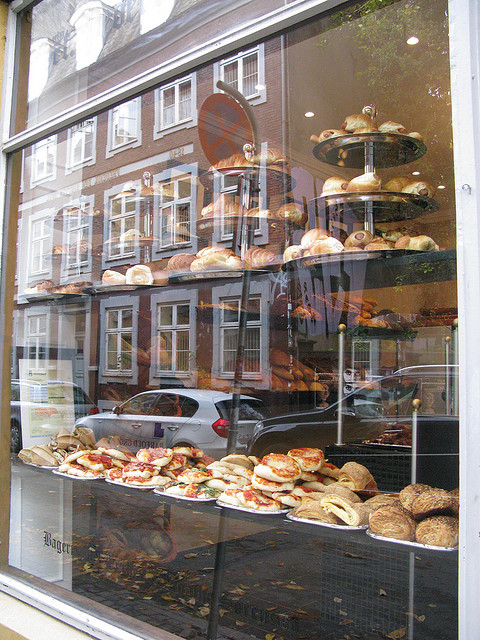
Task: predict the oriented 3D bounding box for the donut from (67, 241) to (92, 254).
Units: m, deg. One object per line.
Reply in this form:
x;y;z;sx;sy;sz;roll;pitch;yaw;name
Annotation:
-0.617;-0.280;2.381;0.075;0.026;0.055;0;3;21;donut

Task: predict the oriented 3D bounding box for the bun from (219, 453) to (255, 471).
-0.001;0.371;1.630;0.096;0.034;0.071;-4;-7;18;bun

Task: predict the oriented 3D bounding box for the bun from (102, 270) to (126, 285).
-0.453;-0.147;2.222;0.092;0.044;0.032;13;10;42;bun

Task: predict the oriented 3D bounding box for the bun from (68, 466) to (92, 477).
-0.491;0.464;1.908;0.094;0.028;0.022;-8;-9;44;bun

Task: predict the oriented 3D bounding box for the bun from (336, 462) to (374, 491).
0.241;0.327;1.299;0.067;0.053;0.066;-2;-7;2;bun

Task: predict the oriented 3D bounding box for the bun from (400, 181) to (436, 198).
0.388;-0.285;1.347;0.048;0.014;0.049;5;-8;-42;bun

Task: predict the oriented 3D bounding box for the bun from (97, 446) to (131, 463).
-0.385;0.417;1.930;0.058;0.014;0.055;11;-9;-17;bun

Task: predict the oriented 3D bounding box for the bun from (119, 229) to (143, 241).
-0.386;-0.306;2.220;0.062;0.019;0.042;0;-2;-19;bun

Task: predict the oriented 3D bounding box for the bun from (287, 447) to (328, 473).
0.156;0.317;1.400;0.068;0.021;0.063;2;0;15;bun

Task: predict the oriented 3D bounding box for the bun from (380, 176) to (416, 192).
0.366;-0.314;1.427;0.076;0.021;0.075;-7;0;-2;bun

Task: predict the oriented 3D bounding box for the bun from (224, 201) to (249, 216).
-0.014;-0.360;1.993;0.072;0.047;0.019;-5;-8;23;bun

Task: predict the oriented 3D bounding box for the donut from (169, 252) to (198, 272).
-0.183;-0.192;2.043;0.088;0.047;0.073;-3;0;2;donut

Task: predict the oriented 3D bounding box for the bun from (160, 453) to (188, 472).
-0.180;0.393;1.713;0.070;0.048;0.029;-2;-7;0;bun

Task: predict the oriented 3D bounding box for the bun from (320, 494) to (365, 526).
0.205;0.378;1.244;0.021;0.055;0.105;5;-9;-43;bun

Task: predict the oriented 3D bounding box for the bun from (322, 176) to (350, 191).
0.254;-0.354;1.631;0.052;0.025;0.049;1;3;15;bun

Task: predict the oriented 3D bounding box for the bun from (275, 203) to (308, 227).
0.145;-0.302;1.812;0.077;0.073;0.027;8;7;35;bun

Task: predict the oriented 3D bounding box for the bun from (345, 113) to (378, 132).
0.311;-0.501;1.575;0.083;0.028;0.097;2;2;5;bun

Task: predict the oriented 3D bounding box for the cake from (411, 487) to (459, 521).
0.340;0.321;1.083;0.069;0.036;0.065;-6;-11;21;cake

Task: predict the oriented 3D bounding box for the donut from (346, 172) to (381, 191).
0.301;-0.339;1.532;0.095;0.052;0.020;-7;-9;41;donut

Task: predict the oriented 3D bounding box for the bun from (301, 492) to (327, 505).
0.162;0.382;1.347;0.050;0.013;0.036;-4;-10;20;bun

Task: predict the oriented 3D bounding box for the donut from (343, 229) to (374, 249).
0.285;-0.193;1.492;0.038;0.056;0.081;1;-7;-22;donut

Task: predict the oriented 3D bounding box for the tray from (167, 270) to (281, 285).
-0.056;-0.144;1.942;0.428;0.048;0.037;-6;-8;37;tray

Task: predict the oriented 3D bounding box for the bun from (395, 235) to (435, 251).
0.359;-0.156;1.264;0.041;0.018;0.048;0;1;-23;bun

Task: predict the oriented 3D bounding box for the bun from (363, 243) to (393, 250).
0.313;-0.166;1.397;0.031;0.009;0.034;2;2;38;bun

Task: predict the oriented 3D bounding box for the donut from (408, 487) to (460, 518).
0.338;0.322;1.088;0.027;0.058;0.106;1;-7;-23;donut

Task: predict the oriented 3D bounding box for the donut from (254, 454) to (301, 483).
0.084;0.328;1.385;0.066;0.020;0.064;2;0;-41;donut

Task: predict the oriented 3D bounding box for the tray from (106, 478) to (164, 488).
-0.300;0.459;1.731;0.091;0.010;0.064;-1;-9;28;tray
